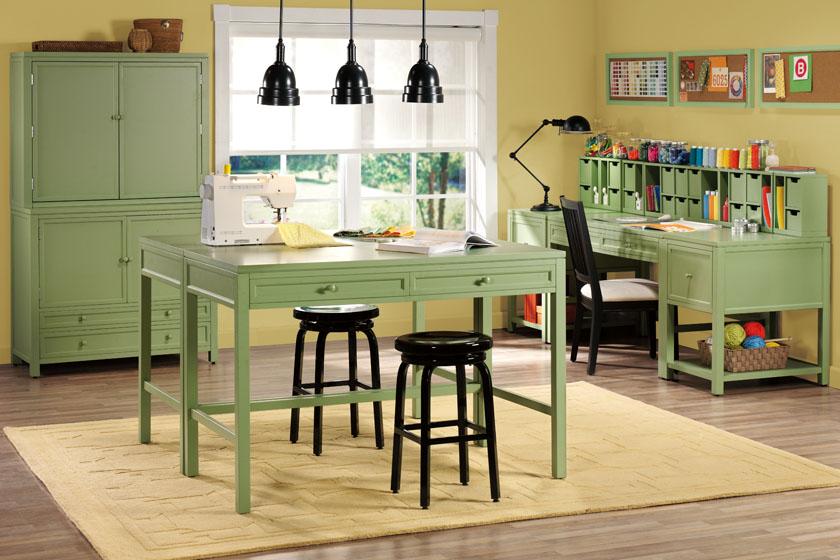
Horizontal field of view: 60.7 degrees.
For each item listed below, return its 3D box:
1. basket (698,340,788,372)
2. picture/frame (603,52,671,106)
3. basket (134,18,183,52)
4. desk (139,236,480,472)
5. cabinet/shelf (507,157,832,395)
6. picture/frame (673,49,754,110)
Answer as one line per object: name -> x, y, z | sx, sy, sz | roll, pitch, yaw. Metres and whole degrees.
basket -> 2.184, 0.491, 4.952 | 0.307, 0.102, 0.351 | 0, 2, -6
picture/frame -> 1.885, -1.757, 6.227 | 0.055, 0.399, 0.684 | -5, 10, -34
basket -> -1.950, -1.867, 5.480 | 0.357, 0.180, 0.297 | -3, 7, -25
desk -> -0.157, 0.371, 3.446 | 1.567, 0.796, 0.837 | -4, -5, -21
cabinet/shelf -> 1.831, -0.004, 5.130 | 0.851, 1.092, 2.011 | -2, 5, -18
picture/frame -> 2.261, -1.557, 5.529 | 0.086, 0.385, 0.660 | -5, 9, -29
